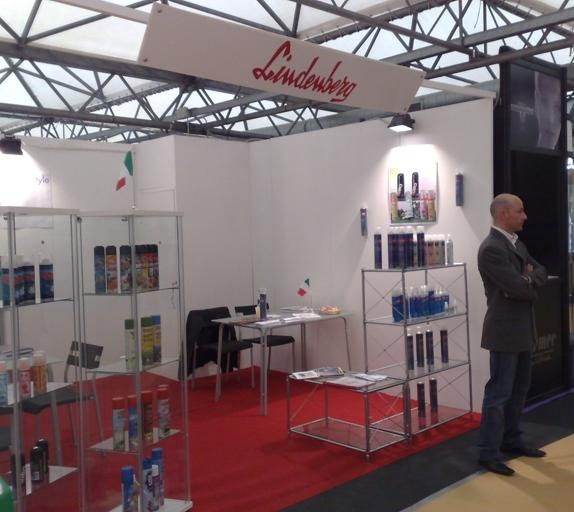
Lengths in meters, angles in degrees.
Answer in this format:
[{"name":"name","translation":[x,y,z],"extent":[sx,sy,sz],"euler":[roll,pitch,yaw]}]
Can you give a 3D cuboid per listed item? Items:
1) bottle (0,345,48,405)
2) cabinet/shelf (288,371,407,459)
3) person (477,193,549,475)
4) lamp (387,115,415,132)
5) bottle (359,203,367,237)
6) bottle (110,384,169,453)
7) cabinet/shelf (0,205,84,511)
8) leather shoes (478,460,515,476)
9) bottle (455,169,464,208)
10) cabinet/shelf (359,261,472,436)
[{"name":"bottle","translation":[-1.420,0.645,2.718],"extent":[0.244,0.258,0.258],"euler":[5,8,32]},{"name":"cabinet/shelf","translation":[0.572,1.181,4.796],"extent":[0.620,0.713,0.987],"euler":[2,-2,-44]},{"name":"person","translation":[1.683,0.544,3.799],"extent":[0.564,2.042,0.424],"euler":[-3,2,-41]},{"name":"lamp","translation":[1.215,-1.411,5.307],"extent":[0.240,0.166,0.366],"euler":[-2,2,26]},{"name":"bottle","translation":[0.888,-0.412,5.818],"extent":[0.059,0.353,0.101],"euler":[-3,1,-36]},{"name":"bottle","translation":[-0.878,0.978,3.039],"extent":[0.348,0.335,0.192],"euler":[-3,2,-18]},{"name":"cabinet/shelf","translation":[-1.354,0.529,2.818],"extent":[0.161,1.651,0.462],"euler":[-1,1,30]},{"name":"leather shoes","translation":[1.530,1.504,3.658],"extent":[0.075,0.103,0.225],"euler":[-2,-2,-33]},{"name":"bottle","translation":[1.717,-0.664,4.983],"extent":[0.074,0.333,0.066],"euler":[-1,1,24]},{"name":"cabinet/shelf","translation":[1.296,0.905,4.881],"extent":[0.736,2.381,1.370],"euler":[-1,1,38]}]
